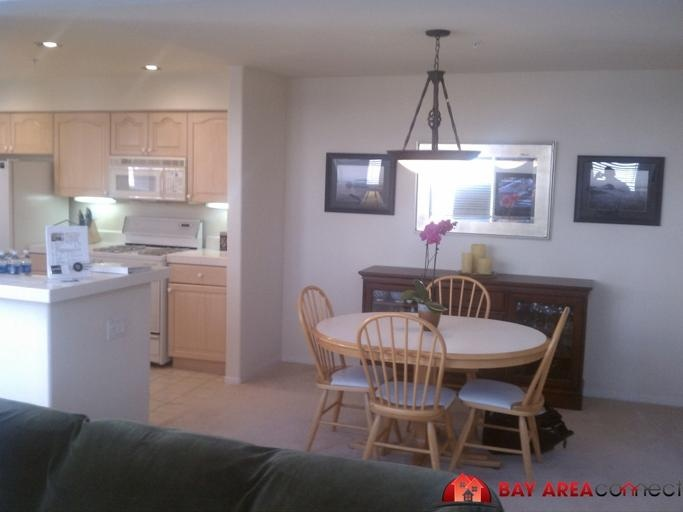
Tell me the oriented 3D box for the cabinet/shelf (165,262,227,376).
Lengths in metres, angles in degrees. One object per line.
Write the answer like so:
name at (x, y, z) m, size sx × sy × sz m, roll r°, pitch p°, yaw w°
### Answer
cabinet/shelf at (-1.217, 0.545, 5.336) m, size 0.828 × 1.021 × 0.812 m, roll 3°, pitch 1°, yaw -5°

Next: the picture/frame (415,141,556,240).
picture/frame at (1.277, -0.552, 4.623) m, size 0.940 × 0.640 × 0.036 m, roll 3°, pitch 5°, yaw 20°

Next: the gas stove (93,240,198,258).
gas stove at (-2.007, -0.058, 5.440) m, size 0.965 × 0.082 × 0.582 m, roll 5°, pitch 13°, yaw 16°

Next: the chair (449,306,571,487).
chair at (0.967, 0.860, 3.522) m, size 0.581 × 0.923 × 0.457 m, roll 3°, pitch 5°, yaw 24°

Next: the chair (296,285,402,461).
chair at (0.072, 0.779, 3.784) m, size 0.686 × 1.098 × 0.658 m, roll -2°, pitch 4°, yaw -1°

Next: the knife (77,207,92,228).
knife at (-2.750, -0.422, 5.887) m, size 0.137 × 0.176 × 0.238 m, roll -5°, pitch 15°, yaw -25°

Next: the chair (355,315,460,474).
chair at (0.421, 0.837, 3.439) m, size 0.665 × 0.980 × 0.630 m, roll 0°, pitch 4°, yaw -3°

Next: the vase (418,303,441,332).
vase at (0.534, 0.405, 3.523) m, size 0.154 × 0.155 × 0.142 m, roll 0°, pitch 0°, yaw 43°

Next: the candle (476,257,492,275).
candle at (1.185, 0.090, 4.673) m, size 0.139 × 0.149 × 0.136 m, roll 1°, pitch -1°, yaw 3°

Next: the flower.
flower at (0.643, 0.110, 4.137) m, size 0.447 × 0.691 × 0.368 m, roll 1°, pitch 5°, yaw 9°

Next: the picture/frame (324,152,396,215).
picture/frame at (0.195, -0.690, 5.143) m, size 0.624 × 0.493 × 0.046 m, roll 2°, pitch 3°, yaw 11°

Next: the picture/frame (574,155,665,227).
picture/frame at (2.344, -0.553, 4.577) m, size 0.615 × 0.557 × 0.048 m, roll 2°, pitch 4°, yaw 12°
